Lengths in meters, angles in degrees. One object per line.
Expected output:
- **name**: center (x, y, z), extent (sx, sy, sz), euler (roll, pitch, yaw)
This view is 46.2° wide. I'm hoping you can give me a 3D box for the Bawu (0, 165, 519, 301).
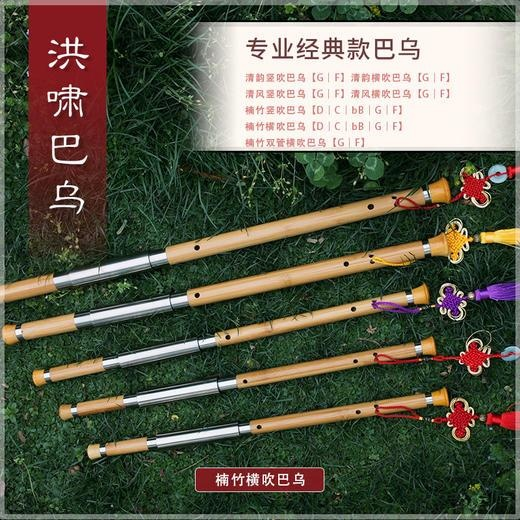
- **Bawu**: center (0.074, -0.085, 1.928), extent (1.465, 0.112, 0.165), euler (-11, -10, 7)
